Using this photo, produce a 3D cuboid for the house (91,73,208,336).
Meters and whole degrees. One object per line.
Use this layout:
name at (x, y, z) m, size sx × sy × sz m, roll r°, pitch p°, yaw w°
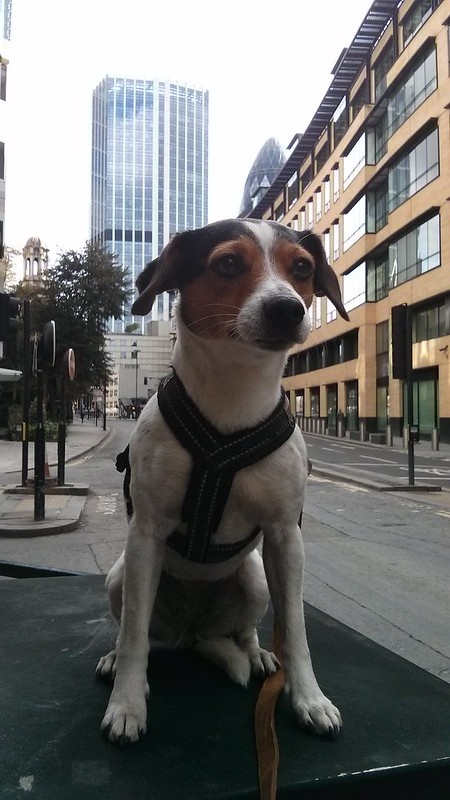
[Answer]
house at (-17.739, -57.279, 170.621) m, size 25.376 × 58.390 × 19.261 m, roll 9°, pitch 18°, yaw 26°
